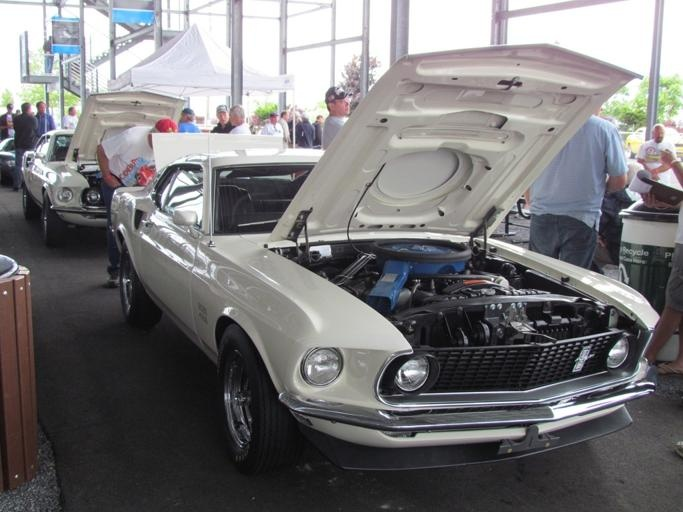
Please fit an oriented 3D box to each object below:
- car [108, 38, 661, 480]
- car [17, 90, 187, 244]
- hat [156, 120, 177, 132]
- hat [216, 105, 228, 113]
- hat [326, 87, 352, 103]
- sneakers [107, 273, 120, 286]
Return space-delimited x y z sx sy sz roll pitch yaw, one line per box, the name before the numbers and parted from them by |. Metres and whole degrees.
car | -0.097 -0.118 3.691 1.940 1.672 3.463 -3 12 -26
car | -4.443 -1.659 9.319 2.257 2.361 4.017 -4 10 -30
hat | -2.233 -1.649 6.285 0.206 0.168 0.276 12 8 -24
hat | -2.627 -3.204 10.866 0.195 0.130 0.293 0 14 -10
hat | -0.038 -2.184 6.747 0.321 0.157 0.190 -10 19 2
sneakers | -2.915 0.315 6.324 0.177 0.232 0.086 7 -15 -19
